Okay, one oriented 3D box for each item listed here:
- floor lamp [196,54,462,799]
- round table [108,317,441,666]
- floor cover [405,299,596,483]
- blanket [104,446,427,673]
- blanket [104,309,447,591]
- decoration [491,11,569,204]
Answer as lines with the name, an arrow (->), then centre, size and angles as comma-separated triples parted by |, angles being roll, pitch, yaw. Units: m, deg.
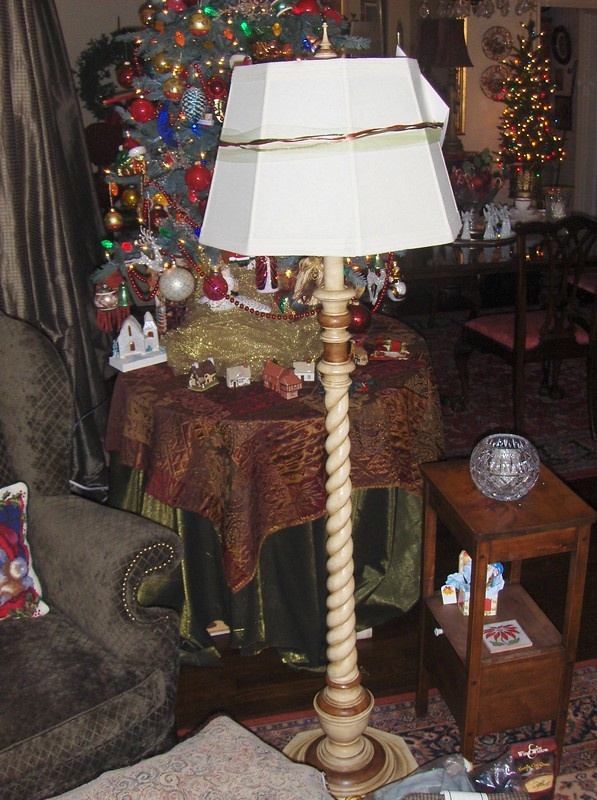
floor lamp -> 0.102, 0.220, 1.373 | 0.411, 1.586, 0.396 | -12, 22, -17
round table -> 0.000, 0.284, 2.488 | 1.108, 0.736, 1.033 | -1, 29, 1
floor cover -> 1.230, 0.037, 4.095 | 0.925, 0.553, 1.246 | -2, 31, -4
blanket -> -0.072, 0.383, 2.478 | 0.693, 0.393, 0.833 | -2, 21, -5
blanket -> -0.063, 0.076, 2.030 | 0.763, 0.371, 0.754 | -1, 3, 8
decoration -> 1.500, -1.809, 4.658 | 0.391, 0.977, 0.720 | 1, 21, 16
